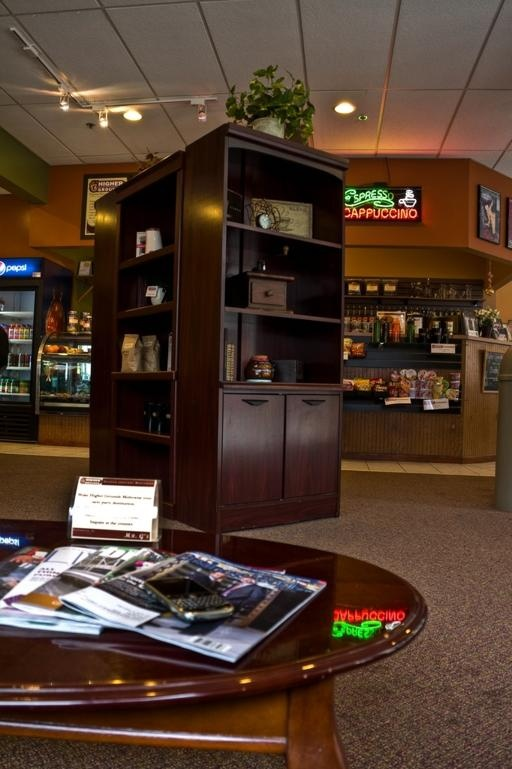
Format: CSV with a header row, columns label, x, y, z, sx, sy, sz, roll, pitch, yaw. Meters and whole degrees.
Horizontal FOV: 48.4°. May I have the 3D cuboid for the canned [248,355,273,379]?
label,x,y,z,sx,sy,sz,roll,pitch,yaw
canned,0.032,-0.097,3.164,0.120,0.117,0.123,-1,0,35

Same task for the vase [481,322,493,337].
label,x,y,z,sx,sy,sz,roll,pitch,yaw
vase,2.549,-0.610,6.381,0.154,0.176,0.160,0,-1,-39
